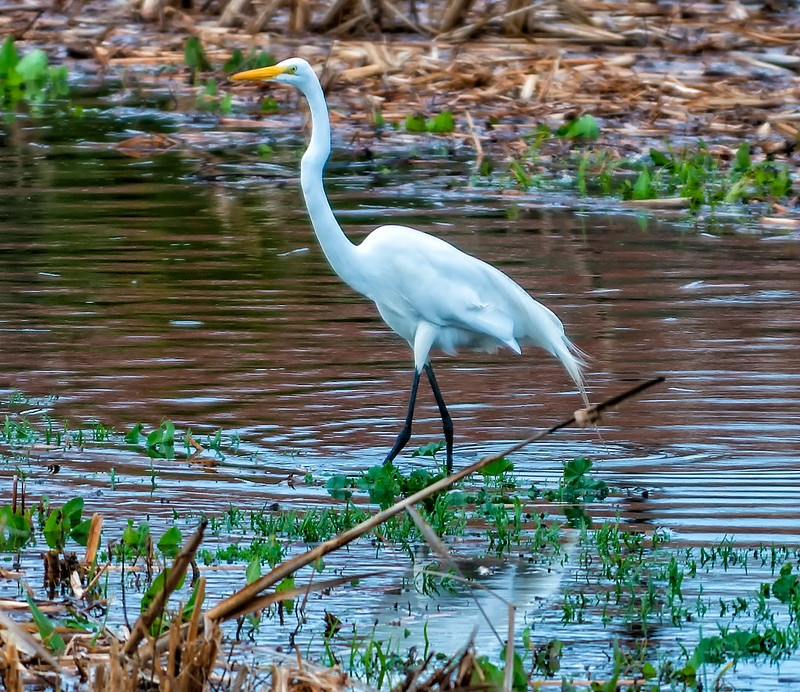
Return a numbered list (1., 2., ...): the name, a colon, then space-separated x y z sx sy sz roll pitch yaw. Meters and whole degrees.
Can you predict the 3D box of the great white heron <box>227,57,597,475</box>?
1. great white heron: 0.115 -0.388 5.372 0.850 1.704 1.024 -9 12 -29
